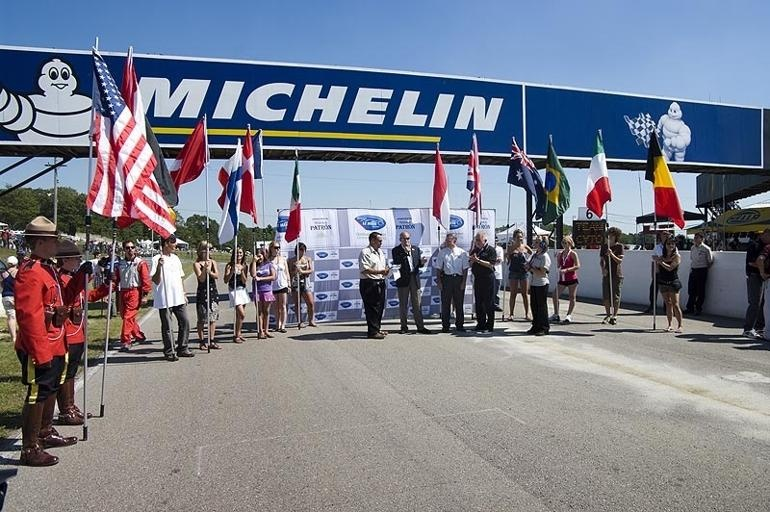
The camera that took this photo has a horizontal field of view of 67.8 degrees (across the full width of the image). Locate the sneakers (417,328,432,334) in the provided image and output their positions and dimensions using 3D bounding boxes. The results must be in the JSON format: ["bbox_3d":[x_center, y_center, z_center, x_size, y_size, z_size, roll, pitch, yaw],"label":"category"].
[{"bbox_3d":[0.944,1.759,13.663,0.357,0.184,0.142,-1,3,3],"label":"sneakers"}]

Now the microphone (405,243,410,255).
[{"bbox_3d":[0.540,-0.210,13.459,0.050,0.168,0.112,5,-26,-12],"label":"microphone"}]

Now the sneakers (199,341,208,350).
[{"bbox_3d":[-3.964,1.958,12.550,0.112,0.239,0.307,2,-12,-27],"label":"sneakers"}]

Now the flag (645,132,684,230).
[{"bbox_3d":[6.835,-1.883,13.992,0.823,2.278,1.395,3,9,21],"label":"flag"}]

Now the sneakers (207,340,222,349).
[{"bbox_3d":[-3.684,1.914,12.414,0.274,0.233,0.108,-1,4,-16],"label":"sneakers"}]

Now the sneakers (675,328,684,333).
[{"bbox_3d":[6.744,1.698,13.160,0.089,0.130,0.291,-6,-10,27],"label":"sneakers"}]

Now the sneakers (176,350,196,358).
[{"bbox_3d":[-4.041,1.967,11.675,0.353,0.186,0.133,0,1,-1],"label":"sneakers"}]

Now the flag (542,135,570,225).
[{"bbox_3d":[4.408,-2.026,14.778,0.621,2.630,0.208,6,34,25],"label":"flag"}]

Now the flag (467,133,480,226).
[{"bbox_3d":[2.375,-1.991,15.214,0.347,2.355,1.362,1,8,8],"label":"flag"}]

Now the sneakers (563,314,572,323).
[{"bbox_3d":[4.710,1.626,14.791,0.127,0.177,0.372,-8,-12,25],"label":"sneakers"}]

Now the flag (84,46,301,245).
[{"bbox_3d":[-4.579,-3.027,13.871,0.655,5.676,4.902,-3,-6,38],"label":"flag"}]

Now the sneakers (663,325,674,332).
[{"bbox_3d":[6.609,1.669,13.282,0.280,0.138,0.104,0,1,13],"label":"sneakers"}]

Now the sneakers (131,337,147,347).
[{"bbox_3d":[-5.656,1.953,13.227,0.314,0.142,0.219,-10,-7,-46],"label":"sneakers"}]

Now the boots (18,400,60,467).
[{"bbox_3d":[-4.386,2.261,7.320,0.438,0.790,0.203,5,0,-6],"label":"boots"}]

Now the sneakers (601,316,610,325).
[{"bbox_3d":[5.632,1.624,14.636,0.110,0.165,0.367,1,3,12],"label":"sneakers"}]

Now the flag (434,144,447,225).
[{"bbox_3d":[1.436,-1.724,14.670,0.380,2.411,0.387,-5,40,2],"label":"flag"}]

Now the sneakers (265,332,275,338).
[{"bbox_3d":[-2.747,1.868,13.627,0.082,0.124,0.269,-1,-9,-39],"label":"sneakers"}]

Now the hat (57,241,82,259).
[{"bbox_3d":[-4.379,-0.094,7.940,0.292,0.261,0.443,-6,11,-30],"label":"hat"}]

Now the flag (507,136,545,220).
[{"bbox_3d":[3.905,-2.123,15.796,0.945,2.072,1.214,1,8,13],"label":"flag"}]

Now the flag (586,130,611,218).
[{"bbox_3d":[5.529,-2.121,14.856,0.472,2.538,0.336,-5,-26,29],"label":"flag"}]
